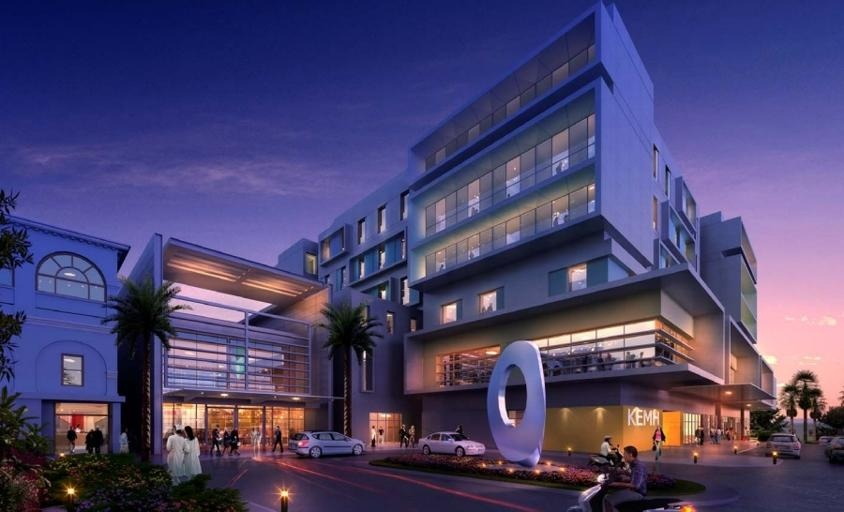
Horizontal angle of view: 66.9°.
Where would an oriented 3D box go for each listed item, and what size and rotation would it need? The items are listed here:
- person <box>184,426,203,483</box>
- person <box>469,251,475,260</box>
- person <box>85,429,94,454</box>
[{"bbox_3d":[-13.395,11.318,37.257,0.904,2.813,0.776,4,-20,-19],"label":"person"},{"bbox_3d":[5.124,-0.108,65.459,0.772,0.738,0.417,12,-22,-32],"label":"person"},{"bbox_3d":[-25.918,14.328,50.003,0.658,1.639,1.267,8,-21,-26],"label":"person"}]
